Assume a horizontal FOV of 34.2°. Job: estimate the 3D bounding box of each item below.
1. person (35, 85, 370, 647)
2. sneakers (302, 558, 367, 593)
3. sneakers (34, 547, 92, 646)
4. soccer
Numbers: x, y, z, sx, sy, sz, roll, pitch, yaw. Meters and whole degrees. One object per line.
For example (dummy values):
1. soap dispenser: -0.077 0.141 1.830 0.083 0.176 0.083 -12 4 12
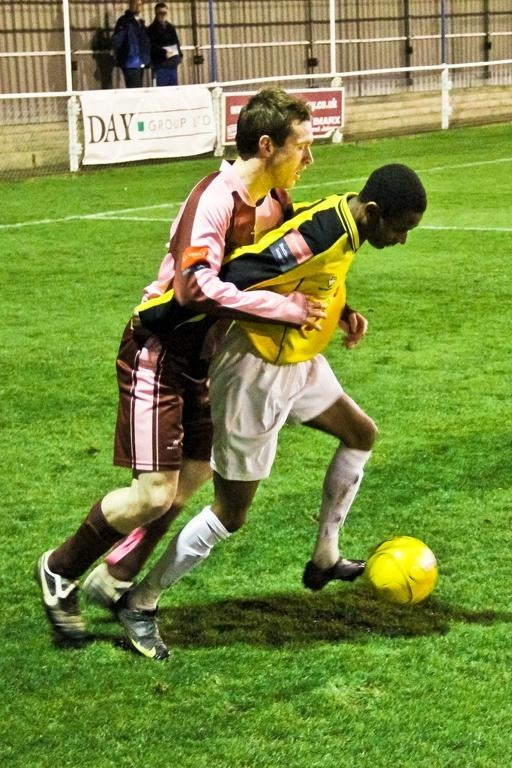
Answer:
1. person: -0.200 -0.036 2.206 0.813 1.527 0.561 2 8 4
2. sneakers: 0.249 0.607 2.647 0.175 0.093 0.068 -12 0 7
3. sneakers: -0.527 0.603 2.375 0.128 0.267 0.099 -26 -6 30
4. soccer: 0.438 0.547 2.517 0.238 0.191 0.207 -2 -3 9
